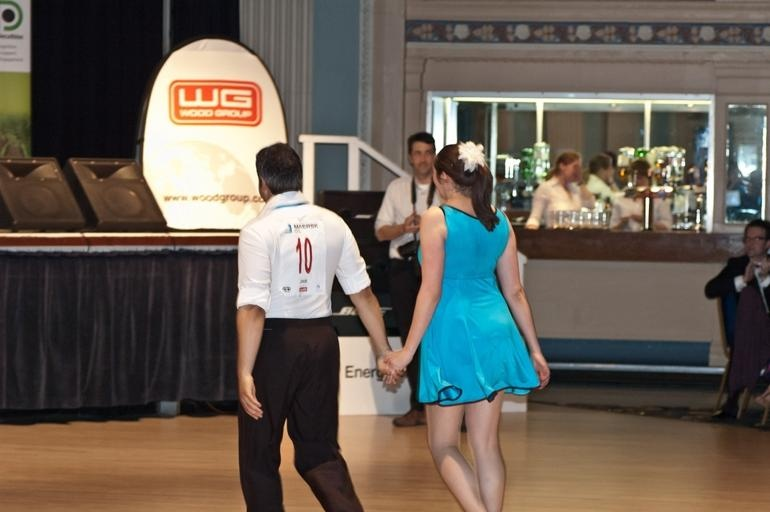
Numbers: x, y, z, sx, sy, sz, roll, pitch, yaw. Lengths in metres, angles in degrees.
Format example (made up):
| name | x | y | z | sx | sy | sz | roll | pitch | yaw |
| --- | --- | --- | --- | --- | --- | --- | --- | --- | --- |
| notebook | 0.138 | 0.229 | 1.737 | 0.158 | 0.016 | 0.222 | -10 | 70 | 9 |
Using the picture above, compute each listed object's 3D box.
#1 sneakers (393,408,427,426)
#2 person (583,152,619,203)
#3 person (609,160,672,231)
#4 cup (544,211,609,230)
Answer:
| name | x | y | z | sx | sy | sz | roll | pitch | yaw |
| --- | --- | --- | --- | --- | --- | --- | --- | --- | --- |
| sneakers | 0.199 | 1.395 | 11.191 | 0.303 | 0.228 | 0.118 | 2 | -2 | -1 |
| person | 2.286 | -0.815 | 13.706 | 0.271 | 0.876 | 0.243 | 11 | -21 | -25 |
| person | 2.623 | -0.605 | 13.321 | 0.544 | 0.977 | 0.486 | -1 | -29 | 7 |
| cup | 1.819 | -0.347 | 12.194 | 0.563 | 0.163 | 0.172 | 0 | 8 | 4 |
